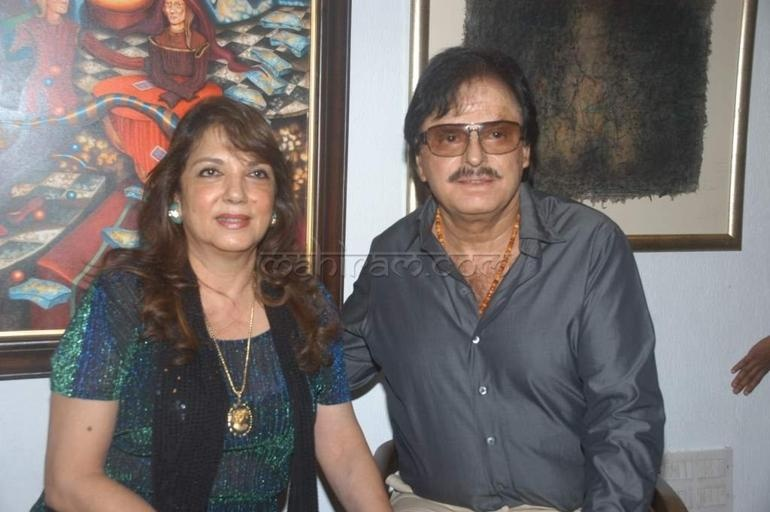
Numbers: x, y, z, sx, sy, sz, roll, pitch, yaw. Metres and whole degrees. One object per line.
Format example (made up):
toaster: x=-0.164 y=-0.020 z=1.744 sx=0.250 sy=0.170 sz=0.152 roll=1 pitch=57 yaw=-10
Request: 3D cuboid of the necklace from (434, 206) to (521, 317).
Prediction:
necklace: x=0.478 y=0.018 z=3.301 sx=0.318 sy=0.474 sz=0.086 roll=4 pitch=-2 yaw=11
